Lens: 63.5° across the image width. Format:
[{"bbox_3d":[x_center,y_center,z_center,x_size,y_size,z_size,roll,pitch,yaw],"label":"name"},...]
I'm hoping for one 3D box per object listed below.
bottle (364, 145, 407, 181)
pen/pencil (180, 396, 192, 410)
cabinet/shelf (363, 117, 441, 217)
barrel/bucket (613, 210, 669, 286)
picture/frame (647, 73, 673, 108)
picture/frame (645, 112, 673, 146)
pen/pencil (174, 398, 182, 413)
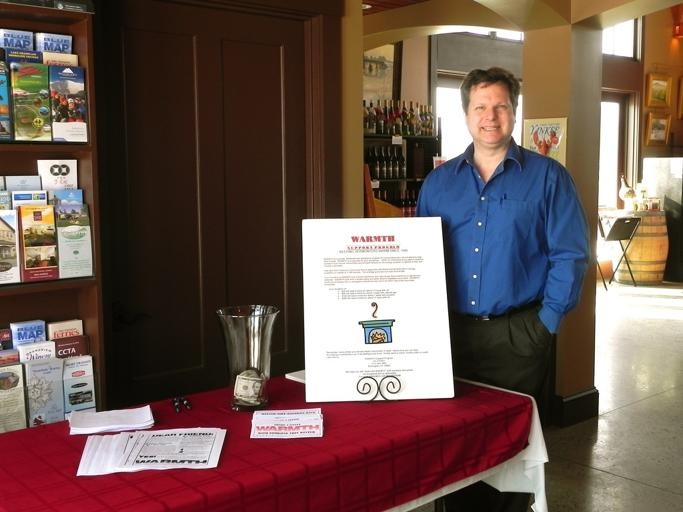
[{"bbox_3d":[0.451,-0.953,5.622,0.453,0.325,0.369,-4,14,-20],"label":"bottle"},{"bbox_3d":[-0.498,0.474,1.768,0.017,0.022,0.079,-5,4,-20],"label":"pen/pencil"},{"bbox_3d":[0.627,-0.739,5.665,0.879,0.933,0.260,-10,-7,-31],"label":"cabinet/shelf"},{"bbox_3d":[4.519,-0.117,8.419,0.740,1.107,0.786,-1,5,0],"label":"barrel/bucket"},{"bbox_3d":[5.152,-2.691,8.961,0.557,0.599,0.080,-1,1,-23],"label":"picture/frame"},{"bbox_3d":[5.165,-2.086,9.018,0.576,0.618,0.065,0,3,-35],"label":"picture/frame"},{"bbox_3d":[-0.524,0.478,1.761,0.014,0.019,0.069,-3,4,-13],"label":"pen/pencil"}]
